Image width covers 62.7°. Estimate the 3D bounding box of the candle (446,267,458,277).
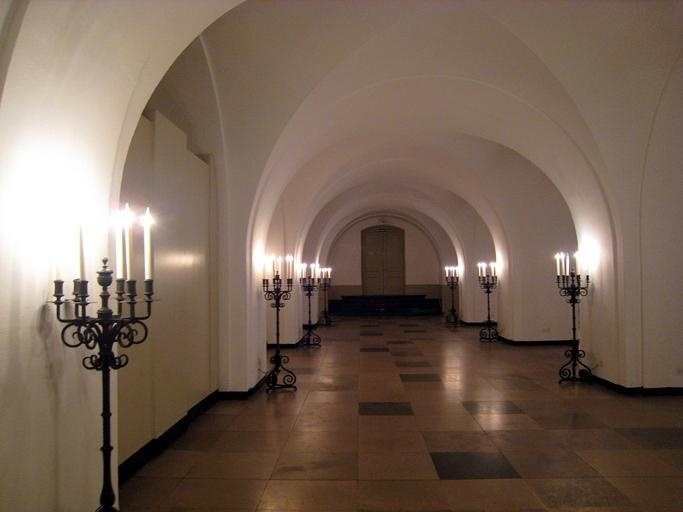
[{"bbox_3d":[4.064,0.588,20.546,0.344,0.470,0.374,0,-5,1],"label":"candle"}]
